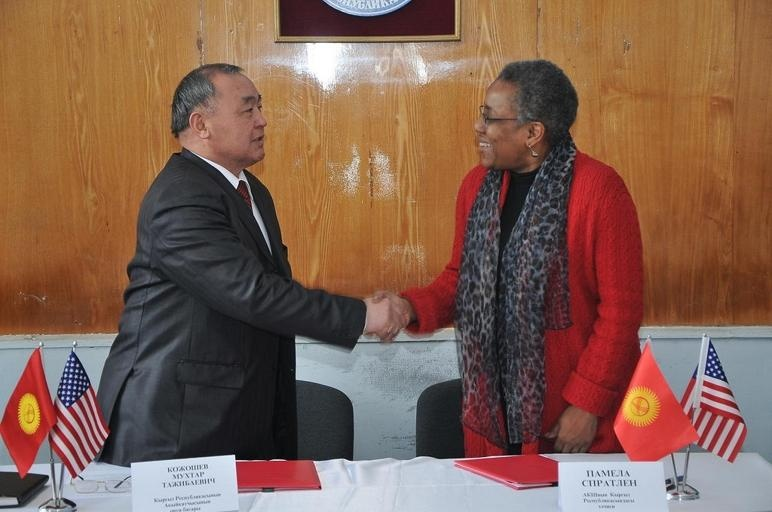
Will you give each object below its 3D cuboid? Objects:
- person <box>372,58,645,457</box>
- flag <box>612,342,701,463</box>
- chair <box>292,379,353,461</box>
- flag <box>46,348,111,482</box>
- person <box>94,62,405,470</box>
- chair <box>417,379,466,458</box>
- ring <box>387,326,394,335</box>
[{"bbox_3d":[0.546,0.294,3.492,1.027,2.217,0.799,2,16,24],"label":"person"},{"bbox_3d":[0.904,0.507,2.786,0.342,0.435,0.204,2,21,32],"label":"flag"},{"bbox_3d":[-0.274,0.737,3.535,0.280,0.380,0.304,-2,-14,12],"label":"chair"},{"bbox_3d":[-1.096,0.550,2.785,0.226,0.527,0.051,-2,22,-14],"label":"flag"},{"bbox_3d":[-0.596,0.328,3.404,1.104,2.179,0.839,2,13,-9],"label":"person"},{"bbox_3d":[0.245,0.724,3.563,0.256,0.364,0.295,1,-19,-3],"label":"chair"},{"bbox_3d":[0.018,0.309,3.300,0.031,0.033,0.008,8,2,-3],"label":"ring"}]
